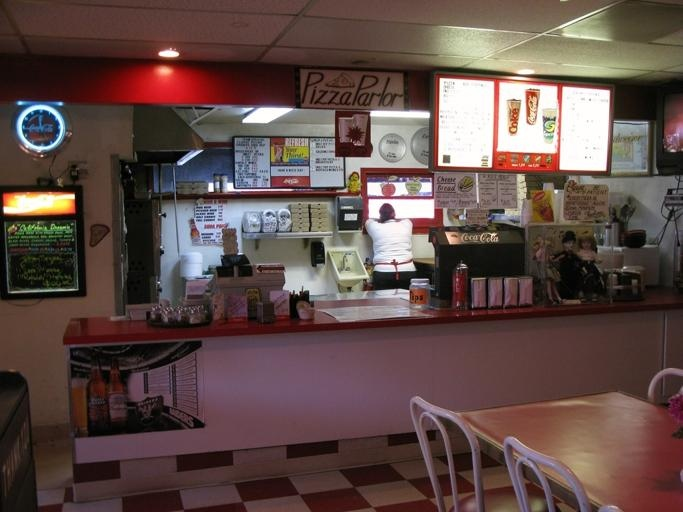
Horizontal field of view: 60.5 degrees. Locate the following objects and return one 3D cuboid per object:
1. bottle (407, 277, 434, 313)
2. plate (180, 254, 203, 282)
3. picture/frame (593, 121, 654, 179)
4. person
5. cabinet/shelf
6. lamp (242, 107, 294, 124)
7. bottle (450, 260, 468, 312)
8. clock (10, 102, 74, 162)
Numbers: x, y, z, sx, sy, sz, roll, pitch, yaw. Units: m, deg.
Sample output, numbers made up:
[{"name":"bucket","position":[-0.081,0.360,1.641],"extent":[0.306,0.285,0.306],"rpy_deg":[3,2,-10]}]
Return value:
[{"name":"bottle","position":[0.720,0.343,5.329],"extent":[0.235,0.337,0.226],"rpy_deg":[0,4,0]},{"name":"plate","position":[-2.076,0.159,8.261],"extent":[0.327,0.388,0.336],"rpy_deg":[0,-1,-6]},{"name":"picture/frame","position":[2.979,-1.142,6.156],"extent":[0.575,0.692,0.070],"rpy_deg":[6,13,33]},{"name":"person","position":[0.749,0.144,8.660],"extent":[0.546,1.788,0.789],"rpy_deg":[-10,26,-15]},{"name":"cabinet/shelf","position":[-1.040,-0.630,8.820],"extent":[2.940,0.693,0.386],"rpy_deg":[-3,0,-23]},{"name":"lamp","position":[-0.976,-1.855,7.678],"extent":[0.590,0.141,0.553],"rpy_deg":[-9,-4,43]},{"name":"bottle","position":[1.053,0.264,5.147],"extent":[0.145,0.379,0.219],"rpy_deg":[0,7,7]},{"name":"clock","position":[-2.527,-1.065,4.928],"extent":[0.437,0.433,0.097],"rpy_deg":[-2,7,-5]}]
